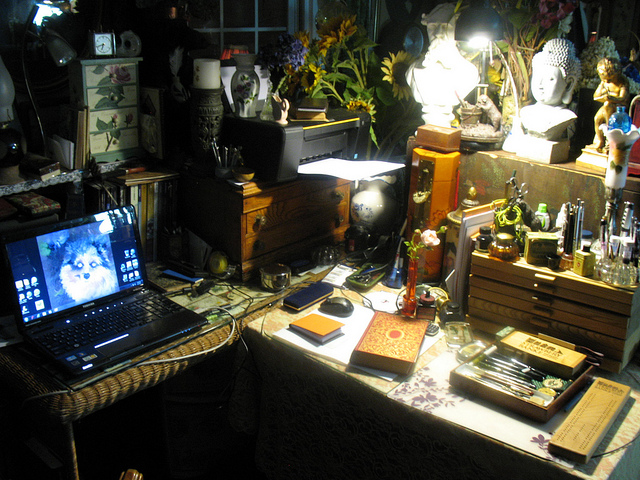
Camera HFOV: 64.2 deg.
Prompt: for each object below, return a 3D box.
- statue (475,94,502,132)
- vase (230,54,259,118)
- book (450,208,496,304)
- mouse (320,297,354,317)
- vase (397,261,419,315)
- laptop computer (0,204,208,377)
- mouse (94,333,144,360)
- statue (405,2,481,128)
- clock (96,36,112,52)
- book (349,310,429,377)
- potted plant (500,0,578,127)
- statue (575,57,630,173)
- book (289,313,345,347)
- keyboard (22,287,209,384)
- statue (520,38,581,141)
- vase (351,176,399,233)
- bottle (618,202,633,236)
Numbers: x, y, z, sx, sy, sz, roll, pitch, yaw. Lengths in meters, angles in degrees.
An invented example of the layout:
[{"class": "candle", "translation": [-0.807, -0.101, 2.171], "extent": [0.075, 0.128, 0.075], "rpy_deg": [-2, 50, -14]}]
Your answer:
[{"class": "statue", "translation": [0.655, -0.485, 1.933], "extent": [0.133, 0.133, 0.075], "rpy_deg": [-9, 22, -29]}, {"class": "vase", "translation": [-0.279, -0.616, 2.028], "extent": [0.091, 0.240, 0.133], "rpy_deg": [18, 25, 40]}, {"class": "book", "translation": [0.529, 0.061, 1.745], "extent": [0.032, 0.292, 0.247], "rpy_deg": [16, 31, 29]}, {"class": "mouse", "translation": [0.064, 0.220, 1.768], "extent": [0.097, 0.040, 0.057], "rpy_deg": [14, 27, 21]}, {"class": "vase", "translation": [0.316, 0.166, 1.761], "extent": [0.063, 0.169, 0.071], "rpy_deg": [12, 21, 26]}, {"class": "laptop computer", "translation": [-0.770, 0.190, 1.733], "extent": [0.409, 0.555, 0.611], "rpy_deg": [4, 16, 42]}, {"class": "mouse", "translation": [-0.622, 0.332, 1.584], "extent": [0.127, 0.025, 0.077], "rpy_deg": [-14, 25, -38]}, {"class": "statue", "translation": [0.479, -0.713, 2.053], "extent": [0.243, 0.466, 0.376], "rpy_deg": [-9, 22, -30]}, {"class": "clock", "translation": [-0.816, -0.743, 1.924], "extent": [0.048, 0.050, 0.049], "rpy_deg": [11, 1, -7]}, {"class": "book", "translation": [0.235, 0.327, 1.642], "extent": [0.186, 0.051, 0.262], "rpy_deg": [9, 22, 16]}, {"class": "potted plant", "translation": [0.774, -0.657, 1.900], "extent": [0.247, 0.447, 0.193], "rpy_deg": [8, 20, 17]}, {"class": "statue", "translation": [0.952, -0.417, 1.697], "extent": [0.180, 0.350, 0.174], "rpy_deg": [12, 27, 41]}, {"class": "book", "translation": [-0.007, 0.295, 1.690], "extent": [0.163, 0.039, 0.112], "rpy_deg": [16, 24, 35]}, {"class": "keyboard", "translation": [-0.660, 0.293, 1.661], "extent": [0.485, 0.107, 0.287], "rpy_deg": [-15, 25, -40]}, {"class": "statue", "translation": [0.798, -0.517, 1.756], "extent": [0.176, 0.338, 0.093], "rpy_deg": [9, 20, 21]}, {"class": "vase", "translation": [0.245, -0.162, 2.224], "extent": [0.204, 0.217, 0.191], "rpy_deg": [6, 19, 12]}, {"class": "bottle", "translation": [0.945, -0.065, 1.575], "extent": [0.020, 0.113, 0.023], "rpy_deg": [-3, 27, -14]}]
